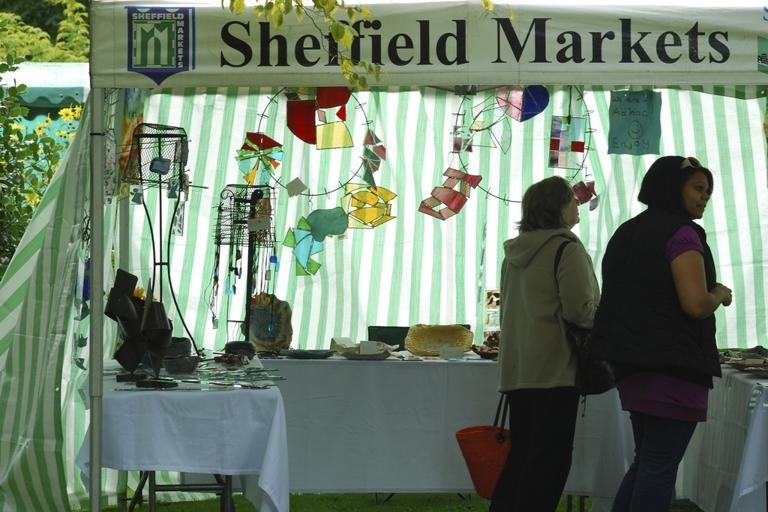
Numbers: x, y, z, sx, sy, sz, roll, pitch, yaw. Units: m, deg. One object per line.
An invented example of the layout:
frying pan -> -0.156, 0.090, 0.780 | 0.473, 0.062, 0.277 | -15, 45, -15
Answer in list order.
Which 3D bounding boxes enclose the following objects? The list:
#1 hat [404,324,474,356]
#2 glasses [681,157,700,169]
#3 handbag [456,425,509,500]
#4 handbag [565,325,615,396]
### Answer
hat -> 0.378, 0.578, 7.259 | 0.301, 0.252, 0.086 | -2, -31, 7
glasses -> 1.698, -0.518, 5.872 | 0.073, 0.028, 0.073 | 7, -15, -44
handbag -> 0.652, 1.283, 6.712 | 0.370, 0.512, 0.437 | -3, -5, 11
handbag -> 1.186, 0.624, 6.145 | 0.219, 0.407, 0.169 | -18, -19, 19
